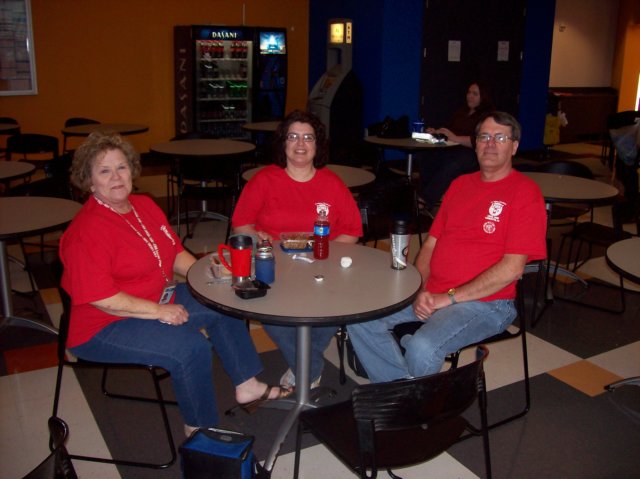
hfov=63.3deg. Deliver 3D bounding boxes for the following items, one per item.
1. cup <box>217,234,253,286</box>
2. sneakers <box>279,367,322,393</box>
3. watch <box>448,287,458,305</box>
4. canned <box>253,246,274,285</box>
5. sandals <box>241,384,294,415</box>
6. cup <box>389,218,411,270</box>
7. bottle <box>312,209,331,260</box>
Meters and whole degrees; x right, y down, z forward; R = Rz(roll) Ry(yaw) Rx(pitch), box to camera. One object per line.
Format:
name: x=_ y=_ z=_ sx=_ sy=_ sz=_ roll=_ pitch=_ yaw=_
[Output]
cup: x=-0.397 y=0.074 z=2.439 sx=0.174 sy=0.202 sz=0.359 roll=-5 pitch=17 yaw=-9
sneakers: x=-0.078 y=0.841 z=3.083 sx=0.306 sy=0.123 sz=0.096 roll=7 pitch=13 yaw=3
watch: x=0.700 y=0.298 z=2.728 sx=0.044 sy=0.068 sz=0.049 roll=-1 pitch=17 yaw=6
canned: x=-0.252 y=0.126 z=2.371 sx=0.093 sy=0.161 sz=0.174 roll=-4 pitch=17 yaw=-6
sandals: x=-0.304 y=0.893 z=2.947 sx=0.339 sy=0.084 sz=0.124 roll=-19 pitch=35 yaw=-20
cup: x=0.401 y=0.016 z=2.608 sx=0.083 sy=0.235 sz=0.166 roll=0 pitch=17 yaw=8
bottle: x=0.004 y=-0.031 z=2.717 sx=0.080 sy=0.229 sz=0.174 roll=-3 pitch=17 yaw=-1
